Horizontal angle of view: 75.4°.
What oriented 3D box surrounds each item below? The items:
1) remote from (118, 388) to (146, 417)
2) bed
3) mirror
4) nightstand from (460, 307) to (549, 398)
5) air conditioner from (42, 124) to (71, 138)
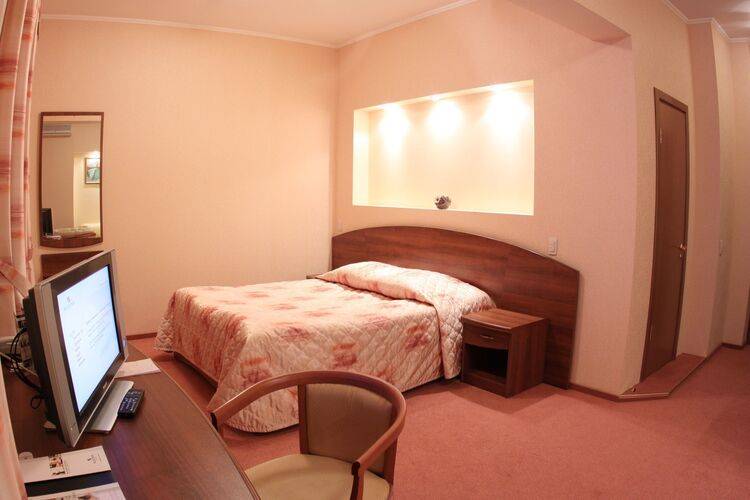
[{"bbox_3d":[-1.068,0.676,2.128,0.061,0.035,0.142,6,21,-13],"label":"remote"},{"bbox_3d":[-0.205,0.517,4.243,2.169,0.929,2.352,-1,7,-35],"label":"bed"},{"bbox_3d":[-3.070,-0.719,4.931,0.639,1.345,0.294,-4,15,-17],"label":"mirror"},{"bbox_3d":[1.123,0.905,4.278,0.607,0.572,0.582,-3,4,-43],"label":"nightstand"},{"bbox_3d":[-3.185,-1.203,4.866,0.212,0.133,0.094,-1,-6,-21],"label":"air conditioner"}]
